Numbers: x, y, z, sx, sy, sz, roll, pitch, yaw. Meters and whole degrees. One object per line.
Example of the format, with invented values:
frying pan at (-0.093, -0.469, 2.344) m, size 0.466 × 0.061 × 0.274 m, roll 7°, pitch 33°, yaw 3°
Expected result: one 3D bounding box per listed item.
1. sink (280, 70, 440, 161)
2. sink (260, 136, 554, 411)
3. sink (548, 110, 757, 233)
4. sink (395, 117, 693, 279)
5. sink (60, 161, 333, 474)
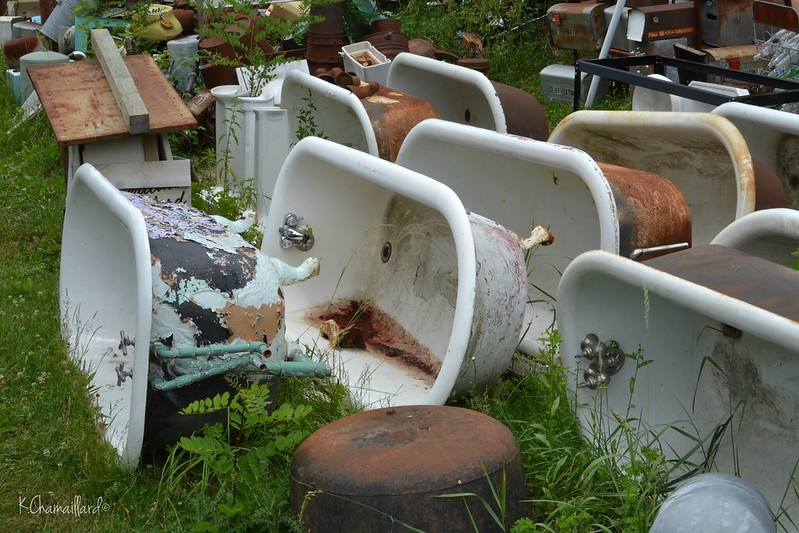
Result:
sink at (-0.297, -0.962, 4.984) m, size 1.010 × 0.709 × 0.638 m, roll 25°, pitch 32°, yaw 39°
sink at (-0.039, -0.061, 3.629) m, size 0.879 × 1.076 × 1.652 m, roll -16°, pitch 27°, yaw -27°
sink at (1.518, -0.573, 4.125) m, size 0.373 × 0.779 × 1.001 m, roll -7°, pitch 13°, yaw -39°
sink at (0.752, -0.400, 3.832) m, size 0.446 × 1.050 × 1.217 m, roll -13°, pitch 25°, yaw -38°
sink at (-0.979, 0.155, 3.422) m, size 1.039 × 1.022 × 1.423 m, roll 1°, pitch 22°, yaw -28°
